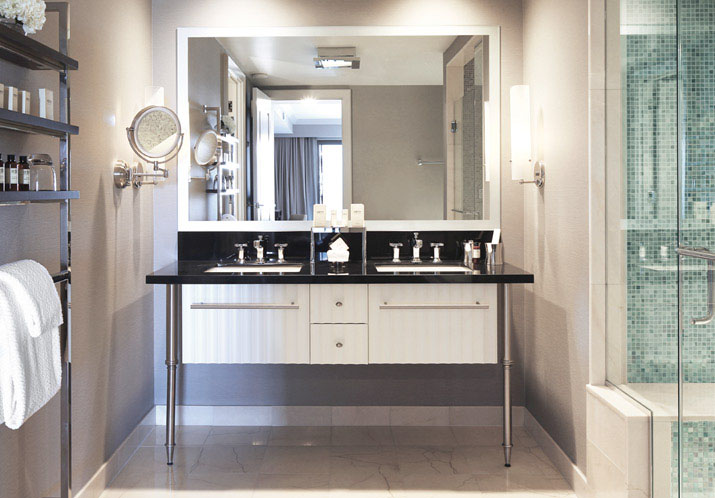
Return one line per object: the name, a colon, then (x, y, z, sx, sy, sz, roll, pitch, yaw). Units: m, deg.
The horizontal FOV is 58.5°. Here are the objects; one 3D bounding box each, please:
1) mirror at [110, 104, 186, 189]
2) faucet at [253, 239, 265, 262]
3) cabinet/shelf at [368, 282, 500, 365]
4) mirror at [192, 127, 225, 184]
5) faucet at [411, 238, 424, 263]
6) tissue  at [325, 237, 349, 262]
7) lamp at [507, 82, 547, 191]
mirror: (-1.258, -0.602, 3.802, 0.391, 0.480, 0.341, -3, 5, -17)
faucet: (-0.639, 0.009, 4.072, 0.067, 0.142, 0.162, -2, 5, -9)
cabinet/shelf: (0.442, 0.423, 3.582, 0.692, 0.424, 0.446, 0, -3, 1)
mirror: (-0.978, -0.631, 4.131, 0.206, 0.296, 0.088, 2, 11, -12)
faucet: (0.380, 0.011, 4.093, 0.066, 0.143, 0.117, -1, 4, 5)
tissue : (-0.132, 0.004, 3.926, 0.140, 0.136, 0.142, 1, -5, -4)
lamp: (1.026, -0.671, 3.869, 0.195, 0.636, 0.260, 0, 4, 12)
